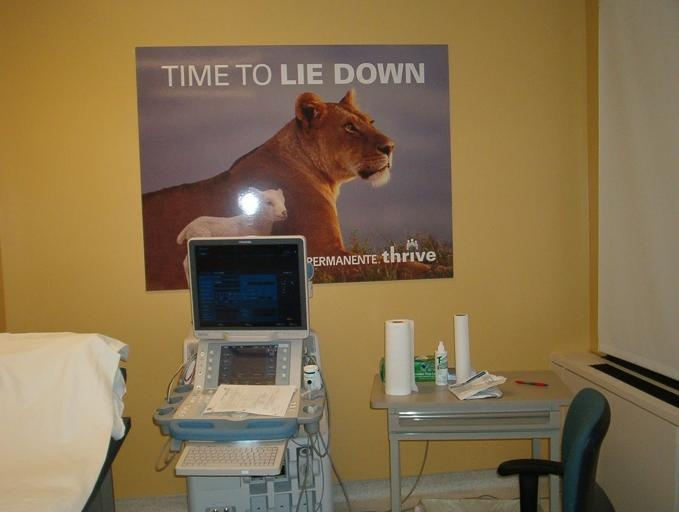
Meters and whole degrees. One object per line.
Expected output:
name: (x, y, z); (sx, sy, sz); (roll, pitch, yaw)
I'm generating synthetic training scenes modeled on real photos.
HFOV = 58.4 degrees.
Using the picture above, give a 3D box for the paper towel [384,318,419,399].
paper towel: (0.327, 0.564, 3.355); (0.180, 0.403, 0.206); (-1, -1, 0)

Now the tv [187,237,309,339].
tv: (-0.500, 0.179, 3.330); (0.640, 0.561, 0.062); (-2, 3, 4)

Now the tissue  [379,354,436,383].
tissue : (0.383, 0.643, 3.432); (0.265, 0.182, 0.138); (-1, 2, 4)

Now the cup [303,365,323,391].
cup: (-0.149, 0.670, 3.376); (0.107, 0.126, 0.108); (-1, 10, 0)
